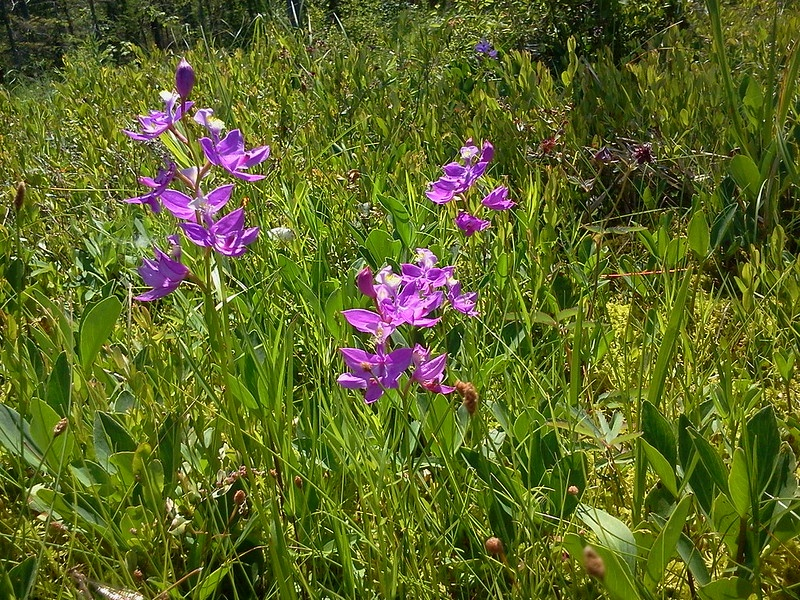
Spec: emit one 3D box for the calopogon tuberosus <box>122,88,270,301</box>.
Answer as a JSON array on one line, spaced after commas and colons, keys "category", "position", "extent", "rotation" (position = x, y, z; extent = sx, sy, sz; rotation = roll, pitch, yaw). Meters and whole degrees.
[{"category": "calopogon tuberosus", "position": [-0.436, -0.250, 1.705], "extent": [0.315, 0.418, 0.418], "rotation": [-8, 23, 0]}]
